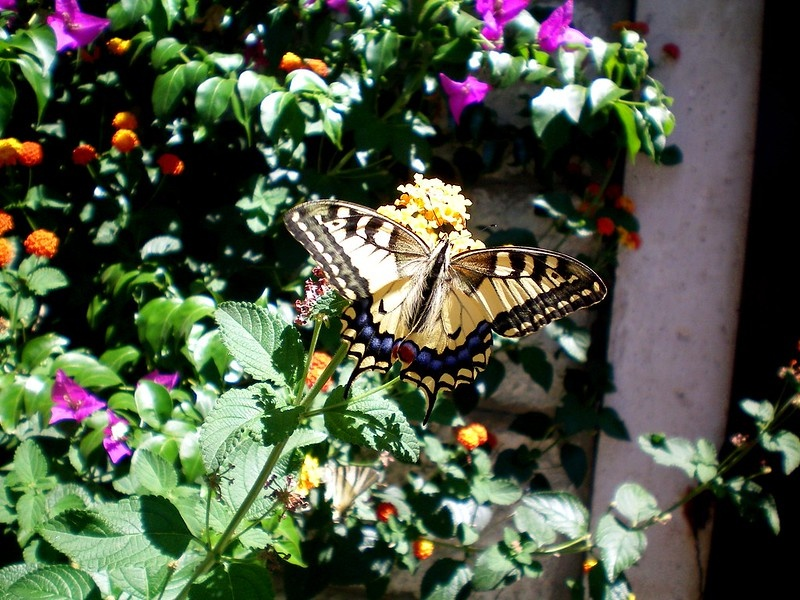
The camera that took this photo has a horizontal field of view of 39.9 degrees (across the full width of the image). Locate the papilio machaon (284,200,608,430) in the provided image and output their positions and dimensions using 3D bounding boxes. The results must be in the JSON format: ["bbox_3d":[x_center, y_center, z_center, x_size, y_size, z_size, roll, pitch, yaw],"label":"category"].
[{"bbox_3d":[0.128,0.000,3.357,0.951,0.608,0.248,-1,8,-9],"label":"papilio machaon"}]
